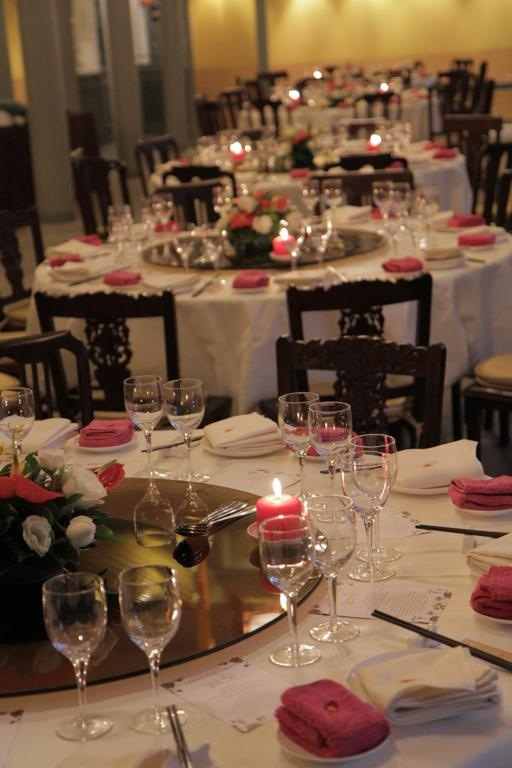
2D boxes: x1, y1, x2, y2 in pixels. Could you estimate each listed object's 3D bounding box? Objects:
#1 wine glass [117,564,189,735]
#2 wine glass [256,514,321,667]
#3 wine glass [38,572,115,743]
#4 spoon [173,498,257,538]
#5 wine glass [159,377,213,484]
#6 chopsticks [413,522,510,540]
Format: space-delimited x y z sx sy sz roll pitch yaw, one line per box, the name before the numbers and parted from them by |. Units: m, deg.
wine glass | -0.117 0.279 0.739 0.067 0.202 0.182 -1 13 -8
wine glass | 0.050 0.256 0.839 0.080 0.214 0.155 3 13 9
wine glass | -0.198 0.295 0.704 0.062 0.185 0.106 -4 14 -20
spoon | -0.070 0.245 1.241 0.052 0.025 0.175 8 11 26
wine glass | -0.183 0.128 1.624 0.130 0.316 0.130 -10 31 -12
chopsticks | 0.390 0.277 1.190 0.142 0.019 0.021 4 -13 14
